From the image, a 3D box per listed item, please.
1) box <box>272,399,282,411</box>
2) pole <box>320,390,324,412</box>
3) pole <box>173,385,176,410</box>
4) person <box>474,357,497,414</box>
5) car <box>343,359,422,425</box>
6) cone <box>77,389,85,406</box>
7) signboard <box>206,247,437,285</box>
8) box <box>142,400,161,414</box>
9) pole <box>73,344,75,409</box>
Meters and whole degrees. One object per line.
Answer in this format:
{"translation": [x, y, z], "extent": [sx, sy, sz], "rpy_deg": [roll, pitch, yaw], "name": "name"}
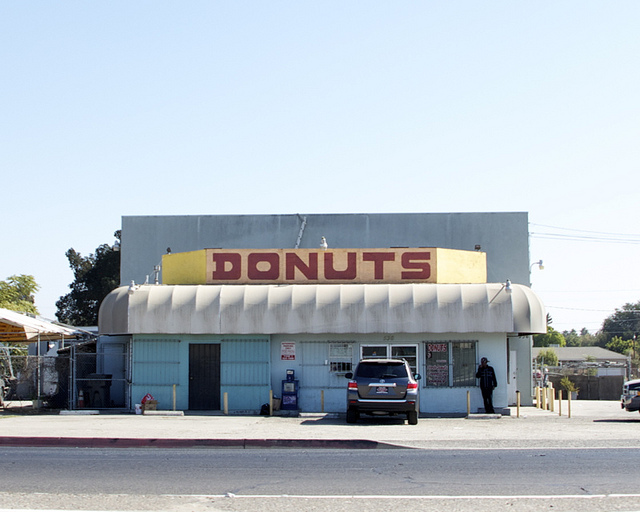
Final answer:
{"translation": [-1.524, 5.336, 40.183], "extent": [0.339, 0.410, 0.311], "rpy_deg": [1, -12, -2], "name": "box"}
{"translation": [0.075, 5.220, 40.323], "extent": [0.139, 0.784, 0.486], "rpy_deg": [-3, -8, 1], "name": "pole"}
{"translation": [-5.164, 5.097, 40.381], "extent": [0.112, 0.860, 0.455], "rpy_deg": [-2, -8, -8], "name": "pole"}
{"translation": [5.904, 4.624, 40.054], "extent": [0.682, 1.958, 0.650], "rpy_deg": [-5, -8, 13], "name": "person"}
{"translation": [2.006, 4.317, 36.025], "extent": [2.070, 2.102, 3.023], "rpy_deg": [1, -7, 3], "name": "car"}
{"translation": [-8.860, 5.356, 42.034], "extent": [0.233, 0.645, 1.103], "rpy_deg": [-2, -9, -12], "name": "cone"}
{"translation": [0.082, 0.428, 42.209], "extent": [8.365, 1.838, 0.347], "rpy_deg": [-4, -8, 0], "name": "signboard"}
{"translation": [-6.021, 5.352, 40.130], "extent": [0.524, 0.444, 0.359], "rpy_deg": [1, 3, -3], "name": "box"}
{"translation": [-8.855, 4.428, 40.857], "extent": [0.094, 2.277, 0.509], "rpy_deg": [-1, -8, -12], "name": "pole"}
